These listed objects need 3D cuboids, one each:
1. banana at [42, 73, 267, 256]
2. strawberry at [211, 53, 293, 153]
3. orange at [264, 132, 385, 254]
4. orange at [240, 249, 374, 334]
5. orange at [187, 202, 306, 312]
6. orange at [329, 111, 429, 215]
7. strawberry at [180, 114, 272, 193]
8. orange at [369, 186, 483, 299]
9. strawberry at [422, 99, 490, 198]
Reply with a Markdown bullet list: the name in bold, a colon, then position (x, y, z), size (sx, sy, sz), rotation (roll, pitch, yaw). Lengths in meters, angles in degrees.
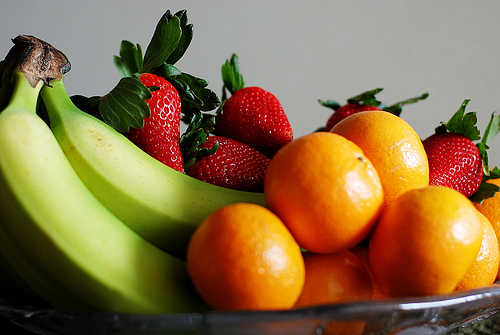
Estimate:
- **banana**: position (-0.138, 0.002, 0.747), size (0.346, 0.129, 0.099), rotation (34, -9, -13)
- **strawberry**: position (-0.004, -0.084, 0.912), size (0.146, 0.099, 0.130), rotation (37, -19, 24)
- **orange**: position (0.100, 0.010, 0.738), size (0.141, 0.159, 0.163), rotation (13, 36, -9)
- **orange**: position (0.075, 0.148, 0.675), size (0.122, 0.108, 0.106), rotation (28, -5, 4)
- **orange**: position (0.000, 0.124, 0.718), size (0.114, 0.124, 0.132), rotation (-23, 50, 1)
- **orange**: position (0.184, -0.008, 0.812), size (0.140, 0.127, 0.126), rotation (-3, 64, -28)
- **strawberry**: position (-0.038, -0.008, 0.934), size (0.156, 0.131, 0.128), rotation (17, -15, 9)
- **orange**: position (0.239, 0.083, 0.701), size (0.105, 0.148, 0.117), rotation (15, 26, 37)
- **strawberry**: position (0.322, -0.014, 0.847), size (0.113, 0.108, 0.101), rotation (-41, 18, -32)
